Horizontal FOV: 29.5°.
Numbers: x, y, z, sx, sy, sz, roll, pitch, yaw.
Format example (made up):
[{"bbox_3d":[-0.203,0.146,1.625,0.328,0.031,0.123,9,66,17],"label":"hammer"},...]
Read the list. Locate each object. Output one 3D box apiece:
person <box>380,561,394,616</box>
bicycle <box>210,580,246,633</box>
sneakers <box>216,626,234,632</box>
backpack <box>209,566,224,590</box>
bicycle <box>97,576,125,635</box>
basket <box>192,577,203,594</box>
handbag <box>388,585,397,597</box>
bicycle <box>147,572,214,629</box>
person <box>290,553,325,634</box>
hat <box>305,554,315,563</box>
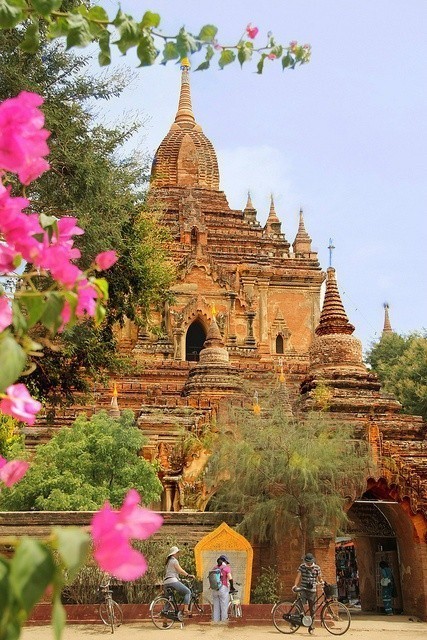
[{"bbox_3d":[3.128,4.865,14.843,0.211,0.936,0.637,7,-18,-1],"label":"person"},{"bbox_3d":[0.167,3.751,10.524,0.312,0.397,0.629,1,-12,3],"label":"bicycle"},{"bbox_3d":[0.124,3.767,9.907,0.202,0.084,0.071,1,2,-4],"label":"sneakers"},{"bbox_3d":[-0.013,3.091,9.719,0.189,0.252,0.165,-12,-25,44],"label":"backpack"},{"bbox_3d":[-1.333,3.559,10.179,0.314,0.452,0.718,1,-3,-19],"label":"bicycle"},{"bbox_3d":[-0.218,3.640,11.162,0.146,0.177,0.145,-1,-3,20],"label":"basket"},{"bbox_3d":[3.196,4.854,14.583,0.056,0.211,0.208,16,-20,-29],"label":"handbag"},{"bbox_3d":[-0.478,3.709,10.525,0.466,0.608,1.007,-14,-41,28],"label":"bicycle"},{"bbox_3d":[1.213,3.538,10.585,0.366,0.986,1.089,4,-18,7],"label":"person"},{"bbox_3d":[1.224,3.046,10.423,0.135,0.077,0.191,1,-1,6],"label":"hat"}]
